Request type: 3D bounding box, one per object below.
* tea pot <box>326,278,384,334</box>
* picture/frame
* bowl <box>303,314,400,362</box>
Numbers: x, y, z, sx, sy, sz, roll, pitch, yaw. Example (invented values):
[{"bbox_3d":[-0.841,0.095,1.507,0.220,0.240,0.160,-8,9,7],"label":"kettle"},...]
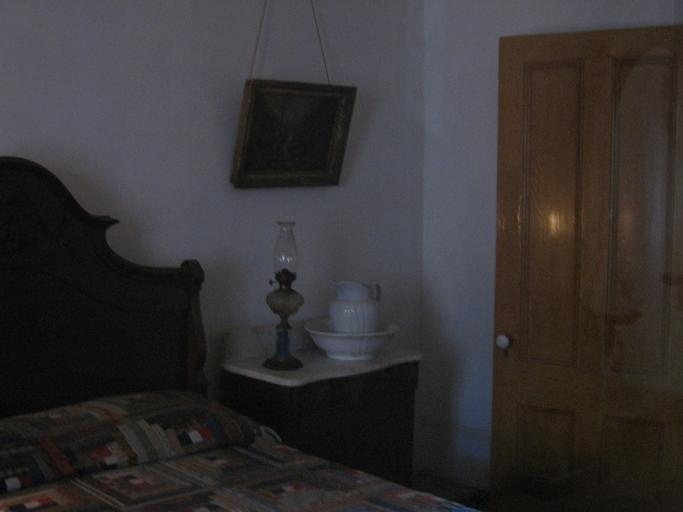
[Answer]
[{"bbox_3d":[0.057,0.212,2.643,0.226,0.241,0.183,7,-13,-27],"label":"tea pot"},{"bbox_3d":[-0.222,-0.526,2.711,0.548,0.399,0.043,2,22,-43],"label":"picture/frame"},{"bbox_3d":[0.046,0.382,2.768,0.381,0.123,0.395,-2,-1,0],"label":"bowl"}]
